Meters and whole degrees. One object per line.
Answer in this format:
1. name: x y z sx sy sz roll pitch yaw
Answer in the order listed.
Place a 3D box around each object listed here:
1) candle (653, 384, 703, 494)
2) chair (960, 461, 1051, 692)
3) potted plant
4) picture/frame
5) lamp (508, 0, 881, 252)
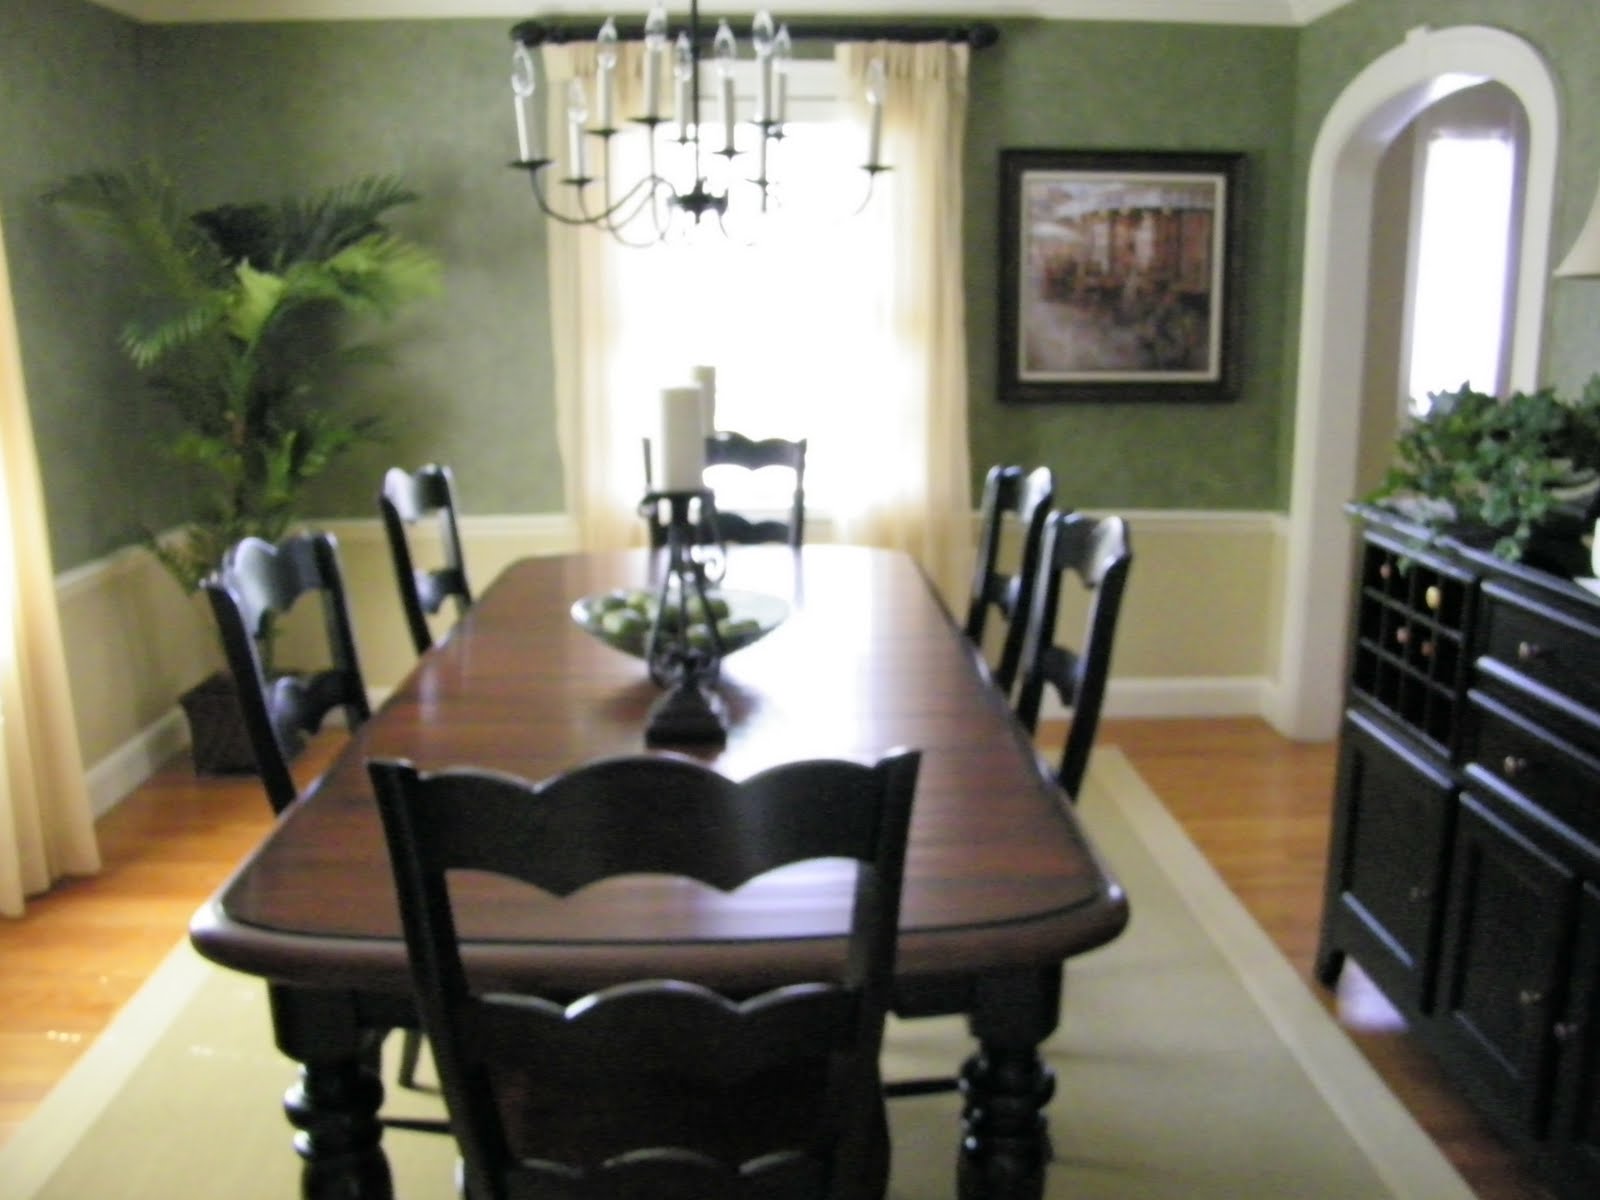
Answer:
1. candle: -0.220 -0.312 2.574 0.081 0.182 0.212 -2 15 -6
2. chair: 0.471 -0.030 3.464 0.229 0.541 0.259 2 18 -22
3. potted plant: -1.948 -0.636 5.397 1.686 2.278 1.749 1 12 -11
4. picture/frame: 1.191 -1.259 5.046 0.821 0.918 0.061 -1 9 -1
5. lamp: -0.375 -1.598 4.530 0.911 1.274 0.946 0 17 -2
